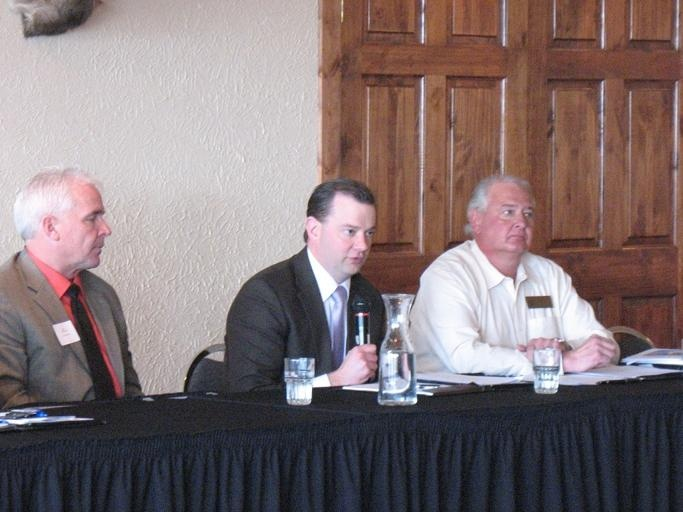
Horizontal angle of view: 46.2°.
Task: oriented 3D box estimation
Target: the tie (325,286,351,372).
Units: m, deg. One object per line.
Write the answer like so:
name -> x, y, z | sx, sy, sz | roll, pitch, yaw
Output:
tie -> -0.016, 0.283, 3.372 | 0.087, 0.399, 0.043 | -6, 32, -12

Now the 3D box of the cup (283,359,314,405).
cup -> -0.136, 0.402, 2.575 | 0.102, 0.151, 0.100 | -2, 1, 0

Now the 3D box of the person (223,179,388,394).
person -> -0.187, 0.133, 3.432 | 0.578, 1.225, 0.607 | 17, -28, -41

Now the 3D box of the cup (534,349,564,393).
cup -> 0.695, 0.389, 2.728 | 0.095, 0.151, 0.093 | 1, -5, 0

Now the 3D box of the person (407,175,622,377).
person -> 0.772, 0.059, 3.756 | 0.820, 0.868, 0.700 | -2, 4, -39
